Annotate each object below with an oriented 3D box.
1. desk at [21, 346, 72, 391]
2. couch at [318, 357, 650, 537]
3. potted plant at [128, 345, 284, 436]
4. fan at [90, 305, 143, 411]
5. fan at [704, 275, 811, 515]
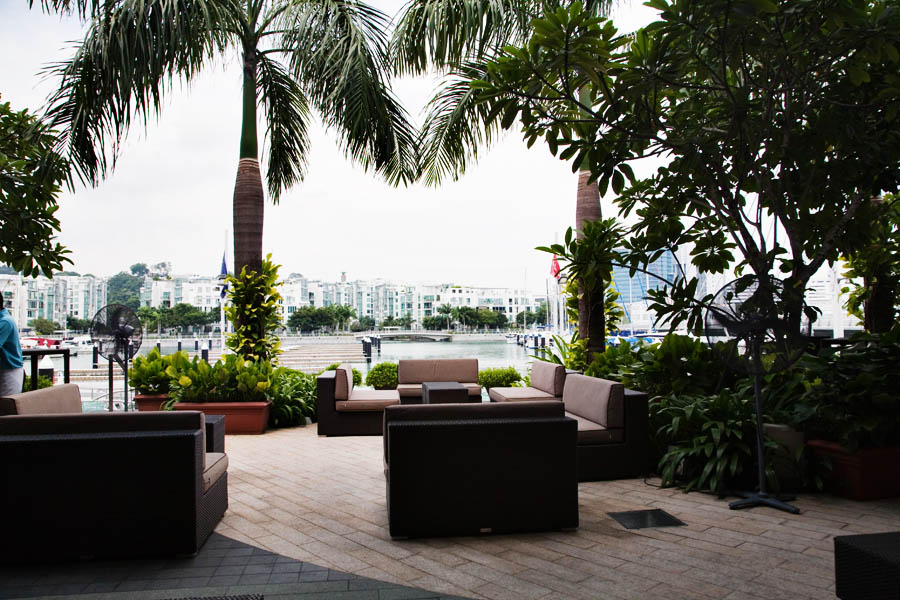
[{"bbox_3d":[-5.379,0.874,9.063,0.653,0.503,0.630,-1,1,-41],"label":"desk"},{"bbox_3d":[0.387,1.425,7.967,3.698,1.470,3.269,1,5,-29],"label":"couch"},{"bbox_3d":[-3.692,1.307,10.125,2.078,1.185,1.409,1,2,0],"label":"potted plant"},{"bbox_3d":[-4.834,0.856,9.916,0.740,1.630,0.288,-2,1,-6],"label":"fan"},{"bbox_3d":[3.093,0.903,6.987,0.788,2.324,0.916,4,4,22],"label":"fan"}]
